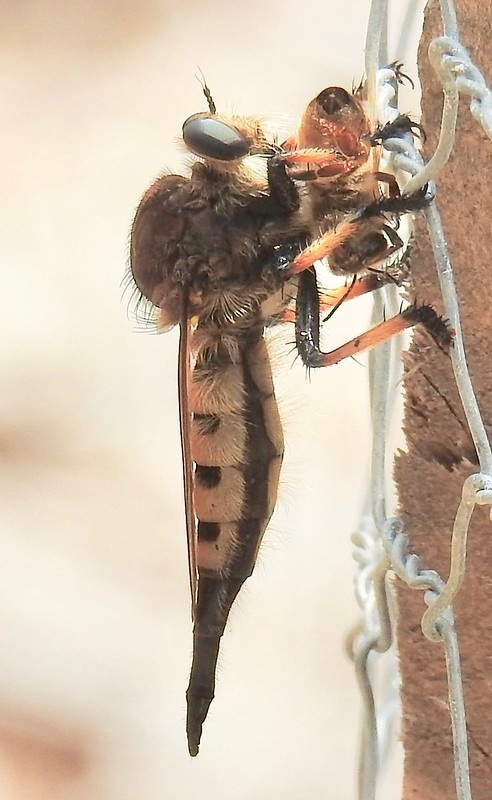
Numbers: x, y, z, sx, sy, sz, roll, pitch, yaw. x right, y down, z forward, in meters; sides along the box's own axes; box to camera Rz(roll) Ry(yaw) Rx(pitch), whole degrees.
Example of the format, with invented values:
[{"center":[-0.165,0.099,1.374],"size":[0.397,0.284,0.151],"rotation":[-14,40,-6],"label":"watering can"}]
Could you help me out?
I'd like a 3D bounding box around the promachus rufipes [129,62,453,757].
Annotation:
[{"center":[-0.006,0.010,0.620],"size":[0.174,0.399,0.220],"rotation":[16,-20,-18],"label":"promachus rufipes"}]
